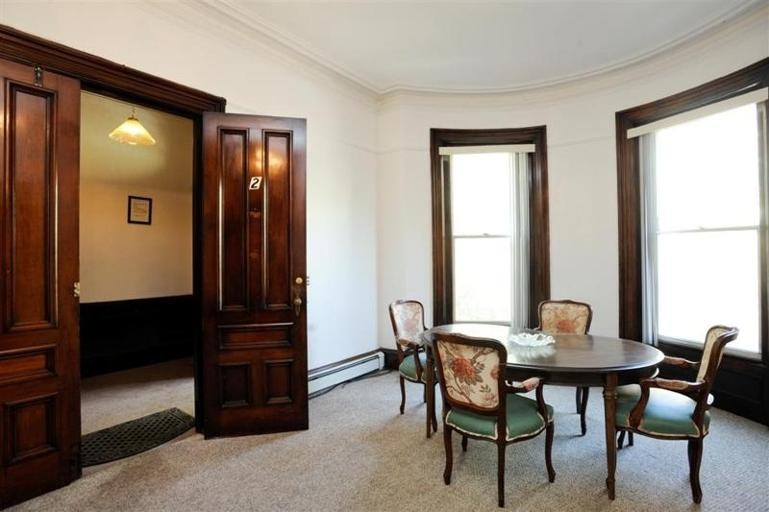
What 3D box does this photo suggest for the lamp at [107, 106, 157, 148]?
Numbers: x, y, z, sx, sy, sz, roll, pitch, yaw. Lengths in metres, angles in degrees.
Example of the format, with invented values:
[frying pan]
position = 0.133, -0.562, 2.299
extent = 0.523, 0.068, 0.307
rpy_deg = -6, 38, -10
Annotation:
[lamp]
position = -2.673, -1.357, 5.779
extent = 0.523, 0.521, 0.521
rpy_deg = -1, -3, -13

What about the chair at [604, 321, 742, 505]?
[chair]
position = 2.696, 1.297, 4.964
extent = 1.371, 1.756, 1.246
rpy_deg = -2, -7, 37

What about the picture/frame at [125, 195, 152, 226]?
[picture/frame]
position = -3.129, -0.599, 6.695
extent = 0.043, 0.470, 0.411
rpy_deg = 3, 2, 34
